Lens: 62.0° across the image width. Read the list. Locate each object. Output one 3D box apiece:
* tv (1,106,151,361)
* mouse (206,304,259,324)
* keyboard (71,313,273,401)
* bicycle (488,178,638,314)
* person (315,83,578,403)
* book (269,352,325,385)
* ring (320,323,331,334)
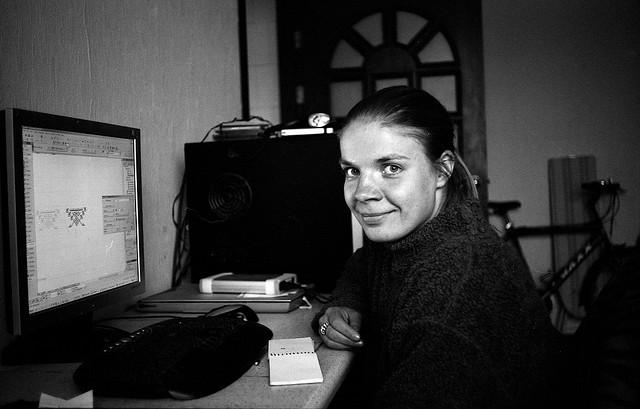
[{"bbox_3d":[-0.685,0.023,1.508,0.096,0.566,0.434,1,6,26],"label":"tv"},{"bbox_3d":[-0.268,0.322,1.613,0.106,0.029,0.069,1,2,-4],"label":"mouse"},{"bbox_3d":[-0.380,0.381,1.344,0.289,0.036,0.231,-5,11,22],"label":"keyboard"},{"bbox_3d":[1.493,0.247,3.269,0.663,0.926,0.870,4,5,20],"label":"bicycle"},{"bbox_3d":[0.299,0.107,1.443,0.694,0.863,0.476,0,6,19],"label":"person"},{"bbox_3d":[-0.072,0.409,1.406,0.140,0.017,0.177,0,22,-4],"label":"book"},{"bbox_3d":[0.015,0.350,1.519,0.011,0.029,0.022,26,13,-16],"label":"ring"}]
